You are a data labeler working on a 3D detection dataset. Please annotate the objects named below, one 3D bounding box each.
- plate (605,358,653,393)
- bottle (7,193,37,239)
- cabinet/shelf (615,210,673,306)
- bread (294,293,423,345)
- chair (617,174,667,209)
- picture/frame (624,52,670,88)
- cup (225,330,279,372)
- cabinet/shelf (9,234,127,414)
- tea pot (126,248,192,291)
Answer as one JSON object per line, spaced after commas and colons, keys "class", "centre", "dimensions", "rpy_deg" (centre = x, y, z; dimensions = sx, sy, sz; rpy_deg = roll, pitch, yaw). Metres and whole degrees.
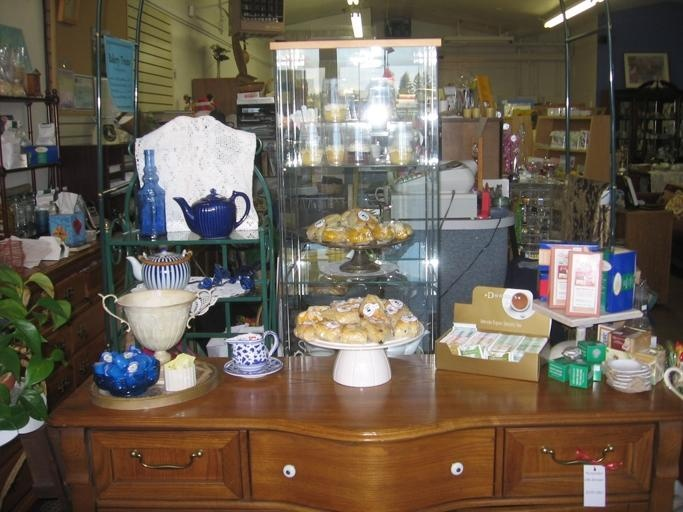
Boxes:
{"class": "plate", "centre": [0.936, 0.392, 1.819], "dimensions": [0.099, 0.051, 0.120], "rpy_deg": [-2, 7, 5]}
{"class": "bottle", "centre": [-2.011, -0.243, 3.524], "dimensions": [0.088, 0.273, 0.248], "rpy_deg": [-2, 11, 0]}
{"class": "cabinet/shelf", "centre": [3.067, 0.022, 5.672], "dimensions": [0.559, 0.959, 0.346], "rpy_deg": [0, 11, 13]}
{"class": "bread", "centre": [0.060, 0.206, 1.870], "dimensions": [0.422, 0.120, 0.190], "rpy_deg": [-3, 12, -2]}
{"class": "chair", "centre": [3.823, -0.816, 7.089], "dimensions": [0.603, 0.525, 0.780], "rpy_deg": [3, 4, 14]}
{"class": "picture/frame", "centre": [6.078, -3.713, 11.181], "dimensions": [0.774, 0.675, 0.059], "rpy_deg": [-1, -5, -3]}
{"class": "cup", "centre": [-0.320, 0.340, 2.016], "dimensions": [0.173, 0.120, 0.126], "rpy_deg": [0, 1, -25]}
{"class": "cabinet/shelf", "centre": [-1.409, 0.332, 2.835], "dimensions": [0.318, 0.865, 0.917], "rpy_deg": [-1, 8, -5]}
{"class": "tea pot", "centre": [-0.851, 0.085, 2.634], "dimensions": [0.260, 0.194, 0.329], "rpy_deg": [-3, 12, -4]}
